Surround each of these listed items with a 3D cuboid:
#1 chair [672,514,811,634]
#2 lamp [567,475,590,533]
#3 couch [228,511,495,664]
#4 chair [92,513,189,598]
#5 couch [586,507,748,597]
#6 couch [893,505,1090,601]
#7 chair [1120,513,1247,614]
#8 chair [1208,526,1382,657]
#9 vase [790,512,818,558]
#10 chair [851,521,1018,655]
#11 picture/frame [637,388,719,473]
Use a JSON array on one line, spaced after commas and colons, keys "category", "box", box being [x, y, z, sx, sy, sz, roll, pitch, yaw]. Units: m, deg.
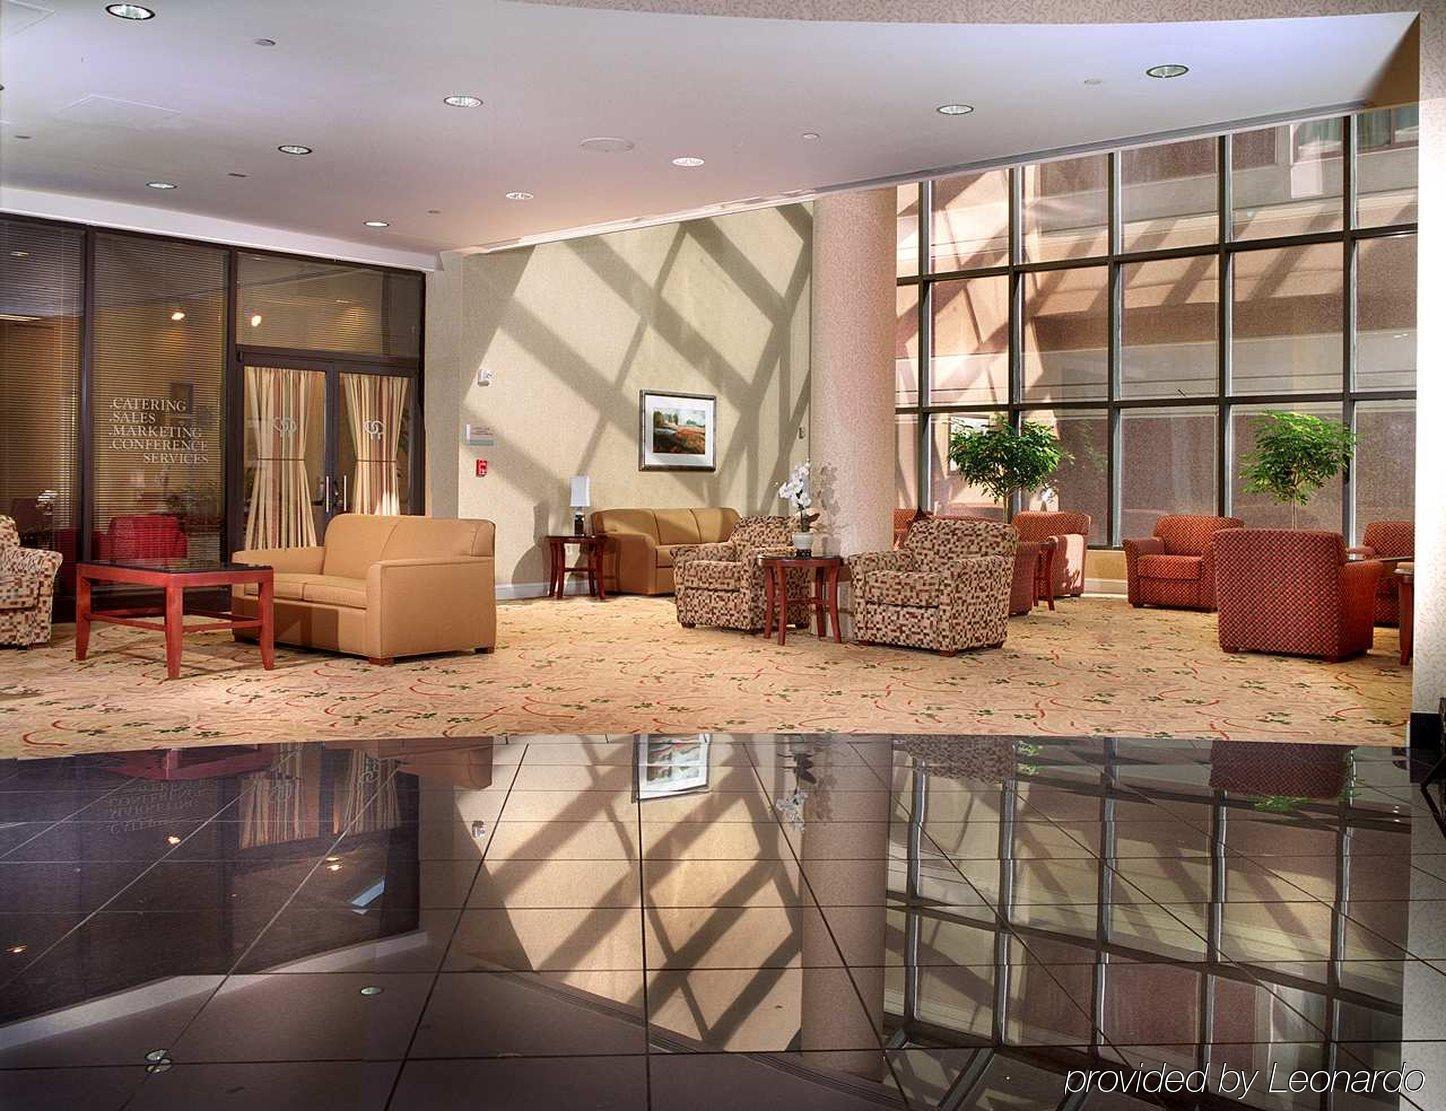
[{"category": "chair", "box": [0.202, 0.177, 9.978, 1.132, 1.091, 1.099, 0, 1, 29]}, {"category": "lamp", "box": [-1.708, -0.614, 12.018, 0.211, 0.676, 0.306, -1, 3, -12]}, {"category": "couch", "box": [-2.855, 0.231, 8.329, 1.792, 1.115, 1.081, 2, 4, 40]}, {"category": "chair", "box": [-5.224, -0.050, 9.364, 0.715, 0.834, 0.971, -2, -2, 37]}, {"category": "couch", "box": [-0.475, -0.100, 13.214, 0.836, 0.977, 2.685, 8, 8, 37]}, {"category": "couch", "box": [3.353, -0.218, 12.716, 2.115, 0.769, 0.699, 11, 16, 39]}, {"category": "chair", "box": [5.392, 0.060, 11.722, 1.286, 1.077, 1.126, 1, 4, 24]}, {"category": "chair", "box": [4.925, 0.270, 8.667, 1.181, 1.101, 1.193, 2, 2, 37]}, {"category": "vase", "box": [0.741, -0.203, 9.076, 0.189, 0.413, 0.318, 0, 3, 8]}, {"category": "chair", "box": [1.832, 0.225, 8.891, 1.225, 1.063, 1.298, 3, 5, 29]}, {"category": "picture/frame", "box": [-0.593, -1.679, 13.571, 1.456, 1.031, 0.056, 10, 14, 42]}]
